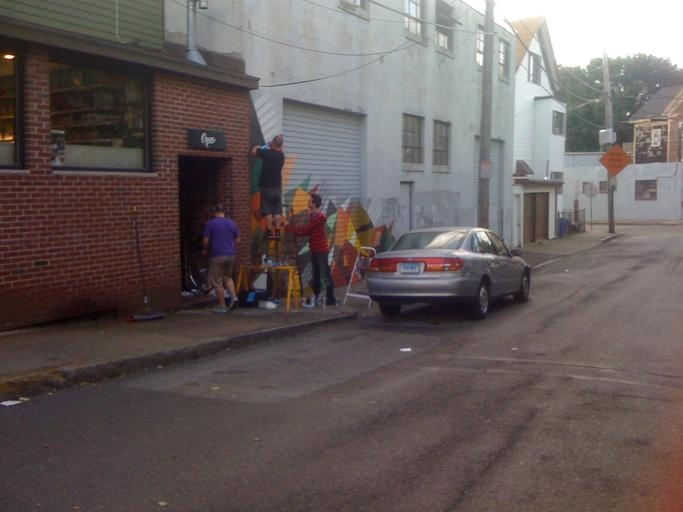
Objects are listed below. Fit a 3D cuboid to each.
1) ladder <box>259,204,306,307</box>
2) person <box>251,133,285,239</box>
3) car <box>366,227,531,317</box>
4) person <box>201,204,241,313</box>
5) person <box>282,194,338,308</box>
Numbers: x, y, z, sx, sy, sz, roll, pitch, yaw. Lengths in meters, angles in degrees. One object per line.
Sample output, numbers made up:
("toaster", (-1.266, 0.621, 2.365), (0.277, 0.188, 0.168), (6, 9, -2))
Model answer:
("ladder", (-1.323, 0.076, 13.681), (0.847, 2.306, 0.775), (5, 6, -5))
("person", (-1.586, -1.590, 14.051), (0.766, 2.229, 0.765), (4, 8, -8))
("car", (2.651, 0.313, 14.297), (2.287, 2.029, 5.561), (-1, 0, 31))
("person", (-2.378, 0.033, 12.582), (0.706, 2.215, 0.733), (2, 5, 26))
("person", (-0.590, -0.122, 13.388), (0.933, 2.393, 0.628), (-3, 4, -21))
